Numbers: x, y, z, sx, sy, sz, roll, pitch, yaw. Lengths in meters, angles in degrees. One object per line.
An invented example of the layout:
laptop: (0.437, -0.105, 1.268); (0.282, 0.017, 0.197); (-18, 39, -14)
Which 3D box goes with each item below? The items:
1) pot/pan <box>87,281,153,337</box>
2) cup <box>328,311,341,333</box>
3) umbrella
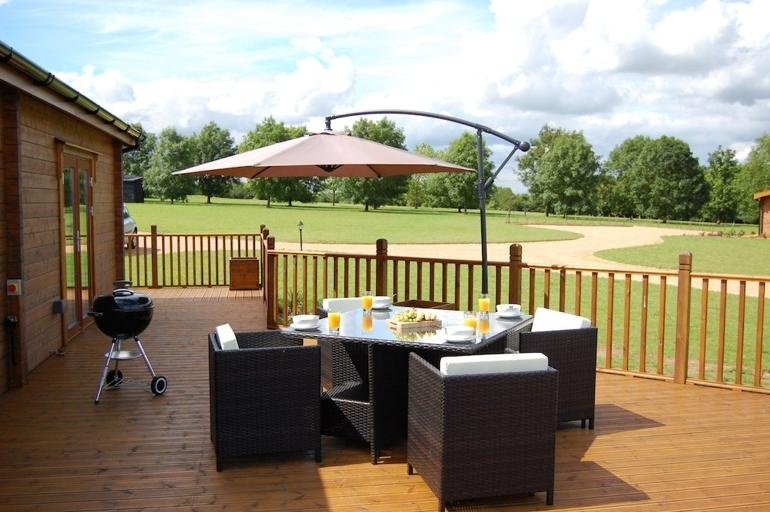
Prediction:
pot/pan: (-3.126, 0.645, 7.826); (0.745, 0.665, 0.832); (0, 4, 3)
cup: (-0.507, 0.666, 6.536); (0.175, 0.188, 0.164); (0, -1, 0)
umbrella: (-0.315, -1.154, 8.353); (3.650, 1.889, 3.089); (1, 3, 1)
